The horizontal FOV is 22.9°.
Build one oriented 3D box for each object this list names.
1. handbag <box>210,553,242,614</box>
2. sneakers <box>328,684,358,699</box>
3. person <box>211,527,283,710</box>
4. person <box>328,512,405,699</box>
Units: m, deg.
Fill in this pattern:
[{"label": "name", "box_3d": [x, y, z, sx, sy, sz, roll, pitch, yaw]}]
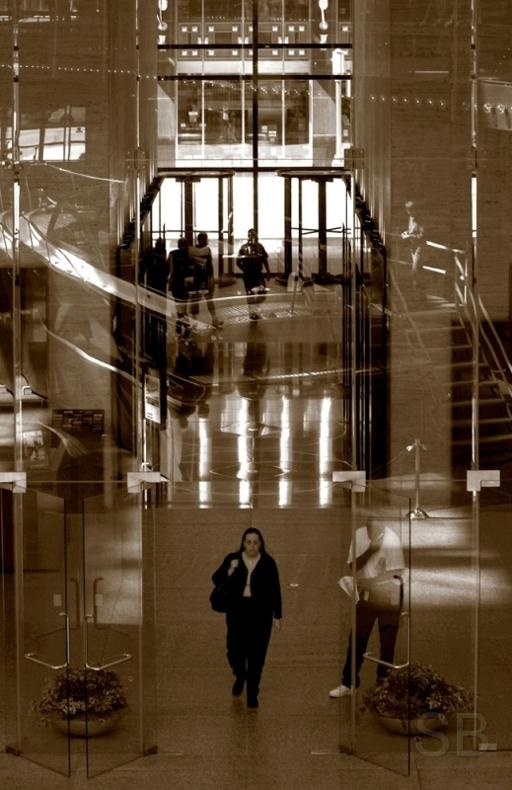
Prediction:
[{"label": "handbag", "box_3d": [-0.261, 1.609, 10.734, 0.099, 0.515, 0.300, 10, -1, -21]}, {"label": "sneakers", "box_3d": [0.707, 2.499, 10.646, 0.183, 0.111, 0.101, -2, 7, 10]}, {"label": "person", "box_3d": [-0.104, 1.903, 10.721, 0.605, 1.523, 0.378, 3, 4, 38]}, {"label": "person", "box_3d": [0.933, 1.788, 10.590, 0.448, 1.695, 0.398, 3, 15, 4]}]
